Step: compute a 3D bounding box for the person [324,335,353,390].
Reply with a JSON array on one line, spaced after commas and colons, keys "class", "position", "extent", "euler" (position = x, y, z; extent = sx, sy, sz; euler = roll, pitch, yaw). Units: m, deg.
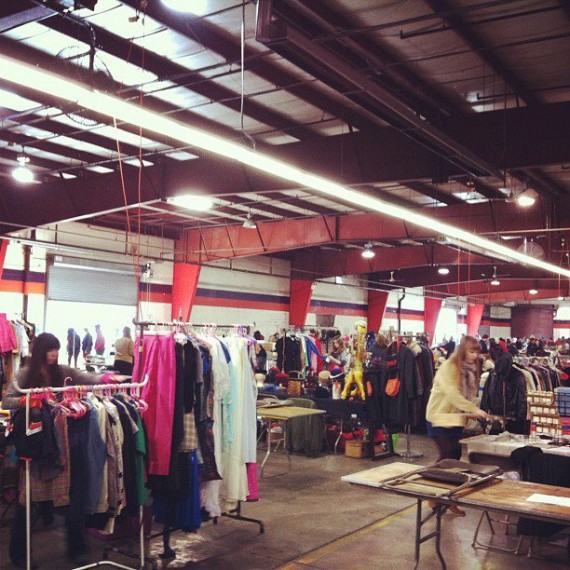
[{"class": "person", "position": [1.159, 1.890, 11.863], "extent": [0.585, 1.763, 0.584], "euler": [-2, 11, -5]}]

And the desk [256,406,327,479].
[{"class": "desk", "position": [-0.026, 2.047, 7.158], "extent": [0.934, 0.892, 0.955], "euler": [-9, -13, 41]}]
